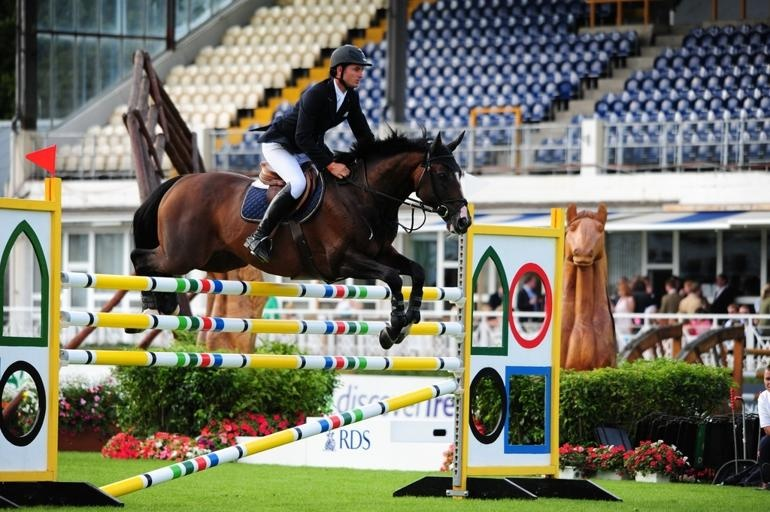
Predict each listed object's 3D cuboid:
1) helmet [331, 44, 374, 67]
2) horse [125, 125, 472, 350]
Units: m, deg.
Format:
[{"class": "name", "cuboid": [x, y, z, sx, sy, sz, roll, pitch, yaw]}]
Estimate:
[{"class": "helmet", "cuboid": [-0.525, -2.968, 26.729, 0.499, 0.216, 0.336, -2, 1, 6]}, {"class": "horse", "cuboid": [-1.388, -0.222, 27.491, 6.040, 3.235, 1.514, 2, 3, 30]}]
